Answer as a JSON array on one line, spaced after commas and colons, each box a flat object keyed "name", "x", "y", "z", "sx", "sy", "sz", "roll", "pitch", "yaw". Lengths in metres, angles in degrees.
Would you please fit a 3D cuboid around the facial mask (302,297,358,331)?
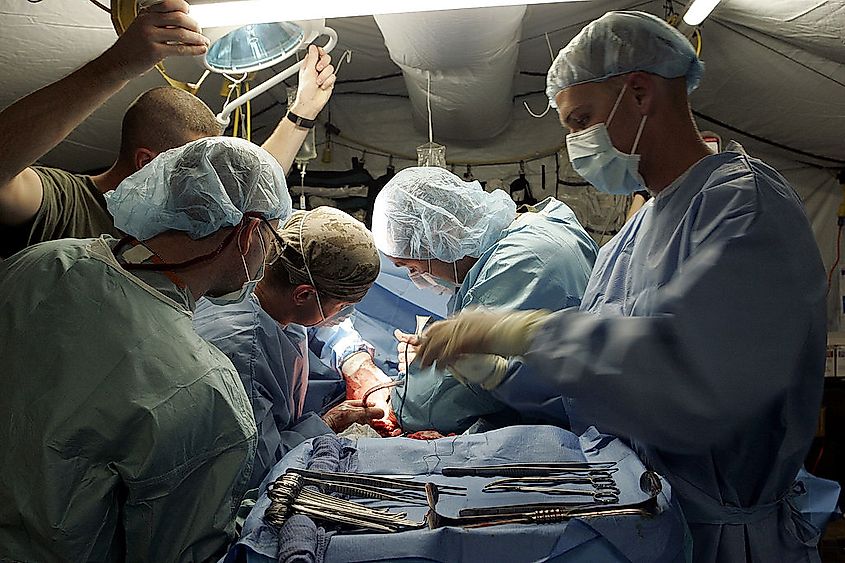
[{"name": "facial mask", "x": -0.401, "y": 0.129, "z": 3.383, "sx": 0.179, "sy": 0.109, "sz": 0.130, "roll": -23, "pitch": 7, "yaw": -25}]

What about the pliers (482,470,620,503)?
[{"name": "pliers", "x": 0.439, "y": 0.709, "z": 2.616, "sx": 0.453, "sy": 0.055, "sz": 0.139, "roll": -1, "pitch": 36, "yaw": 3}]

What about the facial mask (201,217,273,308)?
[{"name": "facial mask", "x": -0.631, "y": -0.034, "z": 2.890, "sx": 0.279, "sy": 0.084, "sz": 0.306, "roll": 7, "pitch": 66, "yaw": 47}]

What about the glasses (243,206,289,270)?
[{"name": "glasses", "x": -0.587, "y": -0.168, "z": 2.873, "sx": 0.061, "sy": 0.197, "sz": 0.210, "roll": 6, "pitch": 80, "yaw": 18}]

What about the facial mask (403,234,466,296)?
[{"name": "facial mask", "x": 0.059, "y": -0.068, "z": 3.758, "sx": 0.197, "sy": 0.278, "sz": 0.241, "roll": -9, "pitch": 17, "yaw": -37}]
